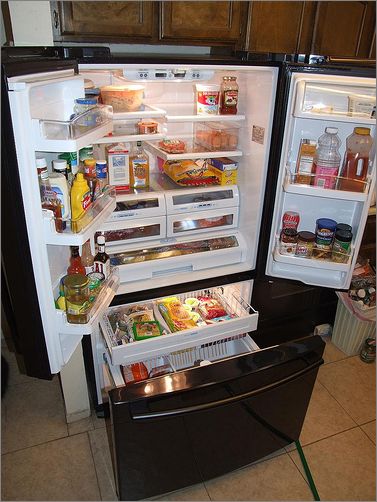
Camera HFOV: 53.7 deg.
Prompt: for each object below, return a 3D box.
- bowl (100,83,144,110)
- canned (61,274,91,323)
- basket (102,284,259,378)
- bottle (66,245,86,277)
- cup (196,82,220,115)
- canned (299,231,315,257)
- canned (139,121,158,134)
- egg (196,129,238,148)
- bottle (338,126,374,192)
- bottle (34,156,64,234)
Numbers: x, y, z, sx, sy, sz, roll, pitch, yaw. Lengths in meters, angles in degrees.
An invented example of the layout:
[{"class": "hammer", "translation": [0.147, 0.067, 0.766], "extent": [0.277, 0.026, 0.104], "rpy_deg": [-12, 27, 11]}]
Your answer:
[{"class": "bowl", "translation": [-0.235, -0.578, 1.427], "extent": [0.170, 0.069, 0.140], "rpy_deg": [3, 29, 7]}, {"class": "canned", "translation": [-0.281, 0.121, 0.926], "extent": [0.076, 0.125, 0.074], "rpy_deg": [-15, 33, -31]}, {"class": "basket", "translation": [-0.051, 0.262, 1.676], "extent": [0.697, 0.279, 0.481], "rpy_deg": [-9, 49, -19]}, {"class": "bottle", "translation": [-0.315, 0.029, 1.041], "extent": [0.044, 0.100, 0.043], "rpy_deg": [1, 27, -1]}, {"class": "cup", "translation": [0.093, -0.658, 1.619], "extent": [0.127, 0.124, 0.132], "rpy_deg": [2, 30, -1]}, {"class": "canned", "translation": [0.498, -0.029, 1.560], "extent": [0.072, 0.110, 0.072], "rpy_deg": [-2, 35, 2]}, {"class": "canned", "translation": [-0.160, -0.487, 1.467], "extent": [0.077, 0.040, 0.069], "rpy_deg": [-3, 31, -7]}, {"class": "egg", "translation": [0.133, -0.545, 1.799], "extent": [0.113, 0.050, 0.152], "rpy_deg": [-3, 25, -16]}, {"class": "bottle", "translation": [0.649, -0.354, 1.426], "extent": [0.096, 0.245, 0.189], "rpy_deg": [11, 32, 17]}, {"class": "bottle", "translation": [-0.295, -0.114, 0.793], "extent": [0.043, 0.164, 0.086], "rpy_deg": [-10, 32, -17]}]
